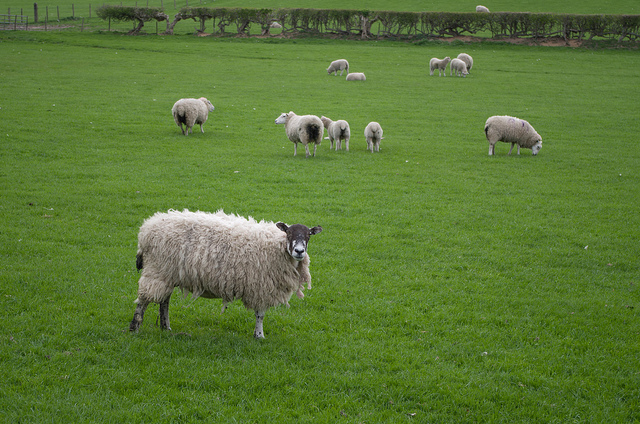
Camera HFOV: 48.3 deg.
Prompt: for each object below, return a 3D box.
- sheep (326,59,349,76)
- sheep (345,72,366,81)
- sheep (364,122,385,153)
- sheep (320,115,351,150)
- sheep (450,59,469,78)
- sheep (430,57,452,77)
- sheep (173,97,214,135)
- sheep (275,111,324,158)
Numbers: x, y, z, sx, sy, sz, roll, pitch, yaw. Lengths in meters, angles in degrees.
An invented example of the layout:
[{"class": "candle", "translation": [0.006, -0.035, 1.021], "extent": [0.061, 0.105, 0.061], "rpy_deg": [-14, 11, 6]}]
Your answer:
[{"class": "sheep", "translation": [1.589, -12.160, 60.172], "extent": [1.564, 1.239, 2.223], "rpy_deg": [9, 16, 28]}, {"class": "sheep", "translation": [2.943, -10.783, 57.121], "extent": [1.127, 0.587, 0.676], "rpy_deg": [-4, 17, 2]}, {"class": "sheep", "translation": [3.002, -4.233, 39.949], "extent": [0.842, 1.667, 2.082], "rpy_deg": [2, 14, 3]}, {"class": "sheep", "translation": [0.920, -4.387, 40.105], "extent": [1.153, 1.754, 2.153], "rpy_deg": [-3, 15, -18]}, {"class": "sheep", "translation": [11.554, -11.882, 59.069], "extent": [1.307, 1.392, 2.184], "rpy_deg": [-1, 15, -9]}, {"class": "sheep", "translation": [10.090, -12.159, 59.815], "extent": [1.604, 1.537, 2.899], "rpy_deg": [3, 14, 8]}, {"class": "sheep", "translation": [-7.300, -5.464, 40.765], "extent": [1.069, 1.975, 2.523], "rpy_deg": [8, 16, 25]}, {"class": "sheep", "translation": [-1.038, -4.234, 39.163], "extent": [1.500, 2.451, 3.139], "rpy_deg": [-5, 10, -31]}]
